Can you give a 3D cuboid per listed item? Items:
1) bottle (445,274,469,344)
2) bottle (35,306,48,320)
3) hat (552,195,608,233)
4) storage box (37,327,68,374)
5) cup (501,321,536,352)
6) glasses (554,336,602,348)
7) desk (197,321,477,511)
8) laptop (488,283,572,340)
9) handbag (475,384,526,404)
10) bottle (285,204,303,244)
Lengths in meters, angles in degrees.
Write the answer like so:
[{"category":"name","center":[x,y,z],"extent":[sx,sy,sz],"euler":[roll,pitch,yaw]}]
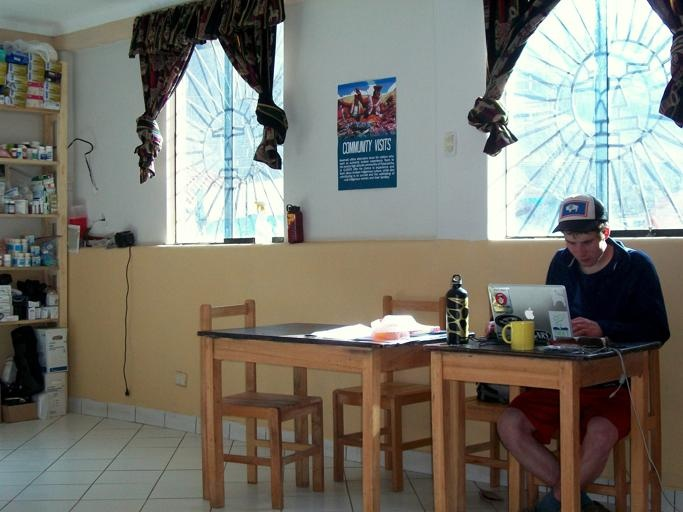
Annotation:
[{"category":"bottle","center":[0.580,0.258,2.880],"extent":[0.100,0.329,0.197],"euler":[0,2,14]},{"category":"bottle","center":[-2.782,0.534,5.432],"extent":[0.155,0.156,0.080],"euler":[0,4,-40]},{"category":"hat","center":[1.218,-0.216,3.003],"extent":[0.171,0.138,0.247],"euler":[1,6,45]},{"category":"storage box","center":[-2.678,0.869,5.422],"extent":[0.263,0.393,0.178],"euler":[-2,3,-30]},{"category":"cup","center":[0.827,0.378,2.705],"extent":[0.134,0.132,0.104],"euler":[-2,-3,13]},{"category":"glasses","center":[1.107,0.400,2.711],"extent":[0.262,0.042,0.118],"euler":[-1,2,-9]},{"category":"desk","center":[-0.099,0.697,3.460],"extent":[1.465,1.195,1.010],"euler":[1,2,39]},{"category":"laptop","center":[0.892,0.244,2.766],"extent":[0.337,0.252,0.248],"euler":[-1,3,37]},{"category":"handbag","center":[0.916,0.830,3.501],"extent":[0.184,0.106,0.141],"euler":[8,-14,-8]},{"category":"bottle","center":[-0.356,-0.244,4.523],"extent":[0.133,0.296,0.092],"euler":[-1,2,-7]}]
